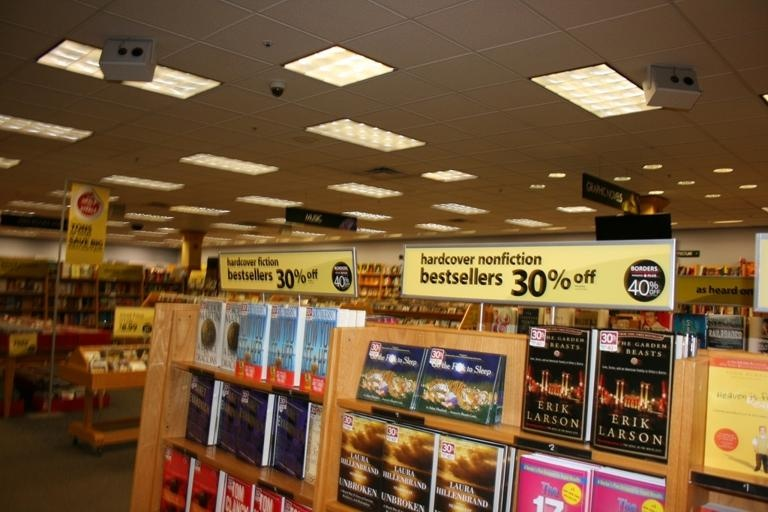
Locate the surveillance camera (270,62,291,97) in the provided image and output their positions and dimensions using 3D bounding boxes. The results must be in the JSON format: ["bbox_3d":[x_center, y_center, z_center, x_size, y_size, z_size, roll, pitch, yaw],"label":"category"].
[{"bbox_3d":[-1.183,-1.951,5.741,0.209,0.183,0.198,-4,-26,-1],"label":"surveillance camera"}]

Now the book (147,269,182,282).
[{"bbox_3d":[-6.346,0.539,14.638,1.014,0.303,0.552,4,-2,-20],"label":"book"}]

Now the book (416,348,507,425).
[{"bbox_3d":[0.444,0.739,2.839,0.445,0.301,0.140,3,-20,30],"label":"book"}]

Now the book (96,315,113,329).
[{"bbox_3d":[-7.058,1.636,12.754,0.386,0.332,0.197,1,-1,32],"label":"book"}]

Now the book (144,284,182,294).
[{"bbox_3d":[-6.281,0.914,14.463,0.817,0.388,0.231,2,0,-17],"label":"book"}]

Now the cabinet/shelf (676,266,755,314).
[{"bbox_3d":[5.094,0.527,7.757,0.426,0.585,1.260,14,-16,-26],"label":"cabinet/shelf"}]
